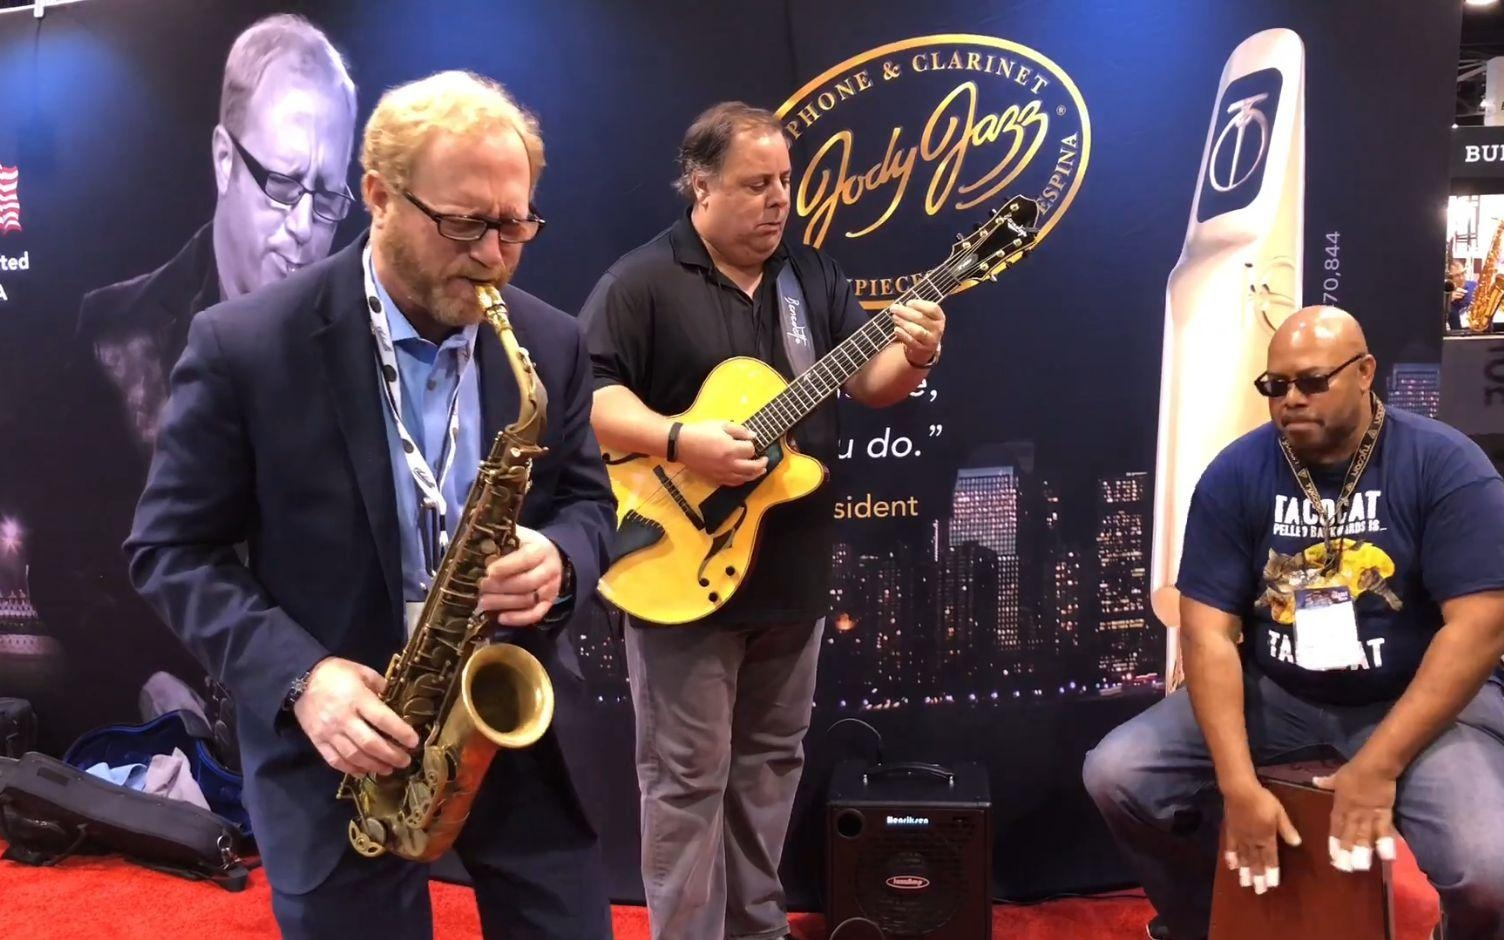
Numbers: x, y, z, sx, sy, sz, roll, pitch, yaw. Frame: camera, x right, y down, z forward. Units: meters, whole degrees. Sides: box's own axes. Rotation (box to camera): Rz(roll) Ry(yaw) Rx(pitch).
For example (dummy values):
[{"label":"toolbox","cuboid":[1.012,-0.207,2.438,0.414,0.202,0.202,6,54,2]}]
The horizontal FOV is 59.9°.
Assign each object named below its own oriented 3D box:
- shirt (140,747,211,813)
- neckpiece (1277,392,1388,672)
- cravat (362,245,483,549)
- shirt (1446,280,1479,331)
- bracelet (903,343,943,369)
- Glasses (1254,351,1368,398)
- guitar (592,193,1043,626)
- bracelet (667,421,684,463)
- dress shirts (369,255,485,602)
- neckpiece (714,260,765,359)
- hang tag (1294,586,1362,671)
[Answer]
[{"label":"shirt","cuboid":[-2.472,1.325,5.555,0.214,0.259,0.079,10,-19,-29]},{"label":"neckpiece","cuboid":[1.999,0.305,4.531,0.270,0.791,0.062,-7,22,8]},{"label":"cravat","cuboid":[-0.907,-0.219,3.625,0.204,0.134,0.843,17,-26,-9]},{"label":"shirt","cuboid":[3.153,-0.739,5.775,0.159,0.281,0.084,4,7,26]},{"label":"bracelet","cuboid":[0.612,-0.416,4.714,0.164,0.061,0.143,5,-6,-18]},{"label":"Glasses","cuboid":[1.965,-0.330,4.571,0.354,0.150,0.131,0,2,22]},{"label":"guitar","cuboid":[0.208,-0.207,5.012,2.282,0.845,0.281,-41,0,1]},{"label":"bracelet","cuboid":[-0.272,-0.101,4.587,0.059,0.130,0.049,-1,2,-1]},{"label":"dress shirts","cuboid":[-0.941,-0.113,3.738,0.132,0.937,0.362,-8,-16,40]},{"label":"neckpiece","cuboid":[-0.026,-0.560,4.732,0.151,0.372,0.058,-2,-8,-20]},{"label":"hang tag","cuboid":[2.032,0.528,4.620,0.220,0.249,0.063,-6,-34,34]}]
